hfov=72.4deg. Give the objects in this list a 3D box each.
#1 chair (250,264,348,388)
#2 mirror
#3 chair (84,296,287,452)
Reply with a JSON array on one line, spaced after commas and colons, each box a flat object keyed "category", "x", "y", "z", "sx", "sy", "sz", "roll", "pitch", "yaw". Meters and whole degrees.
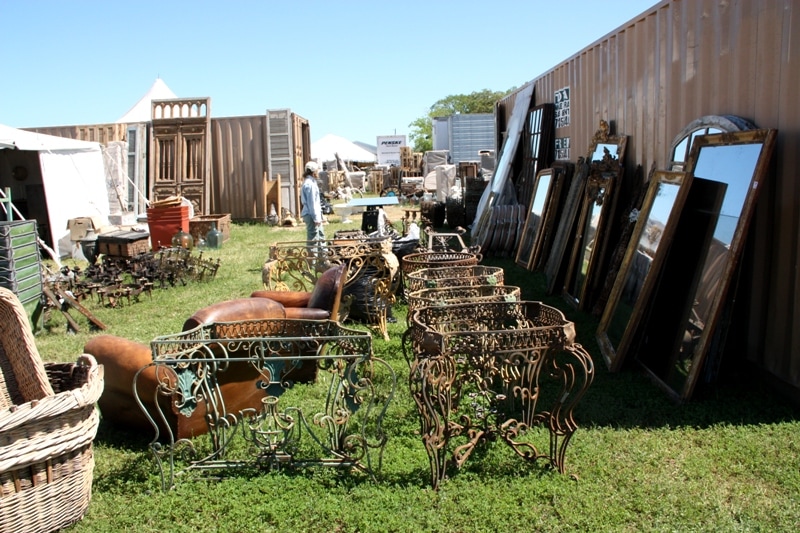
[{"category": "chair", "x": -0.997, "y": 0.652, "z": 6.426, "sx": 1.106, "sy": 1.521, "sz": 1.302, "roll": 4, "pitch": 2, "yaw": -4}, {"category": "mirror", "x": 2.910, "y": -0.156, "z": 5.858, "sx": 1.150, "sy": 2.535, "sz": 1.692, "roll": -7, "pitch": 16, "yaw": -19}, {"category": "chair", "x": -1.871, "y": 0.794, "z": 5.378, "sx": 1.086, "sy": 1.078, "sz": 1.734, "roll": 10, "pitch": 20, "yaw": 39}]
